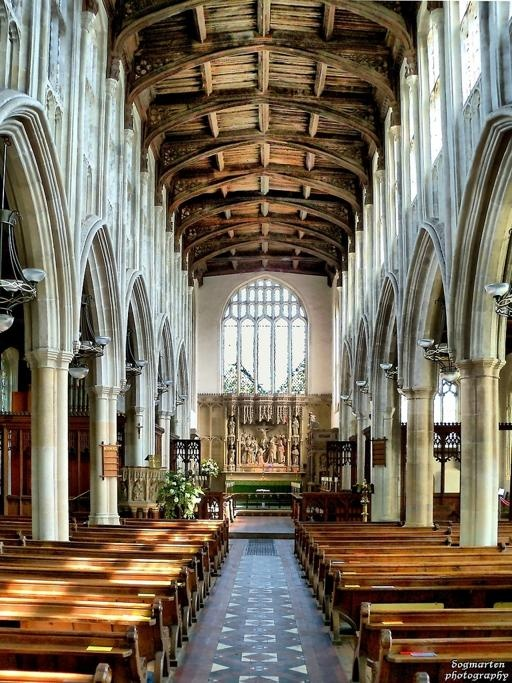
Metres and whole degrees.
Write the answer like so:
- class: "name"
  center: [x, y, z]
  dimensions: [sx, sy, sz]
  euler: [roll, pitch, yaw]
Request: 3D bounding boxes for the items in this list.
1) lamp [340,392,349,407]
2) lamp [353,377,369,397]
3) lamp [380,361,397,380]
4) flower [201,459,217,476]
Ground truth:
- class: "lamp"
  center: [2.933, 1.899, 26.318]
  dimensions: [0.236, 0.384, 0.385]
  euler: [1, -9, -4]
- class: "lamp"
  center: [2.721, 1.171, 20.499]
  dimensions: [0.353, 0.189, 0.505]
  euler: [2, 18, 9]
- class: "lamp"
  center: [2.712, 0.586, 16.327]
  dimensions: [0.281, 0.239, 0.602]
  euler: [0, -11, 5]
- class: "flower"
  center: [-1.524, 4.185, 26.005]
  dimensions: [0.629, 0.590, 0.611]
  euler: [-1, 3, -3]
